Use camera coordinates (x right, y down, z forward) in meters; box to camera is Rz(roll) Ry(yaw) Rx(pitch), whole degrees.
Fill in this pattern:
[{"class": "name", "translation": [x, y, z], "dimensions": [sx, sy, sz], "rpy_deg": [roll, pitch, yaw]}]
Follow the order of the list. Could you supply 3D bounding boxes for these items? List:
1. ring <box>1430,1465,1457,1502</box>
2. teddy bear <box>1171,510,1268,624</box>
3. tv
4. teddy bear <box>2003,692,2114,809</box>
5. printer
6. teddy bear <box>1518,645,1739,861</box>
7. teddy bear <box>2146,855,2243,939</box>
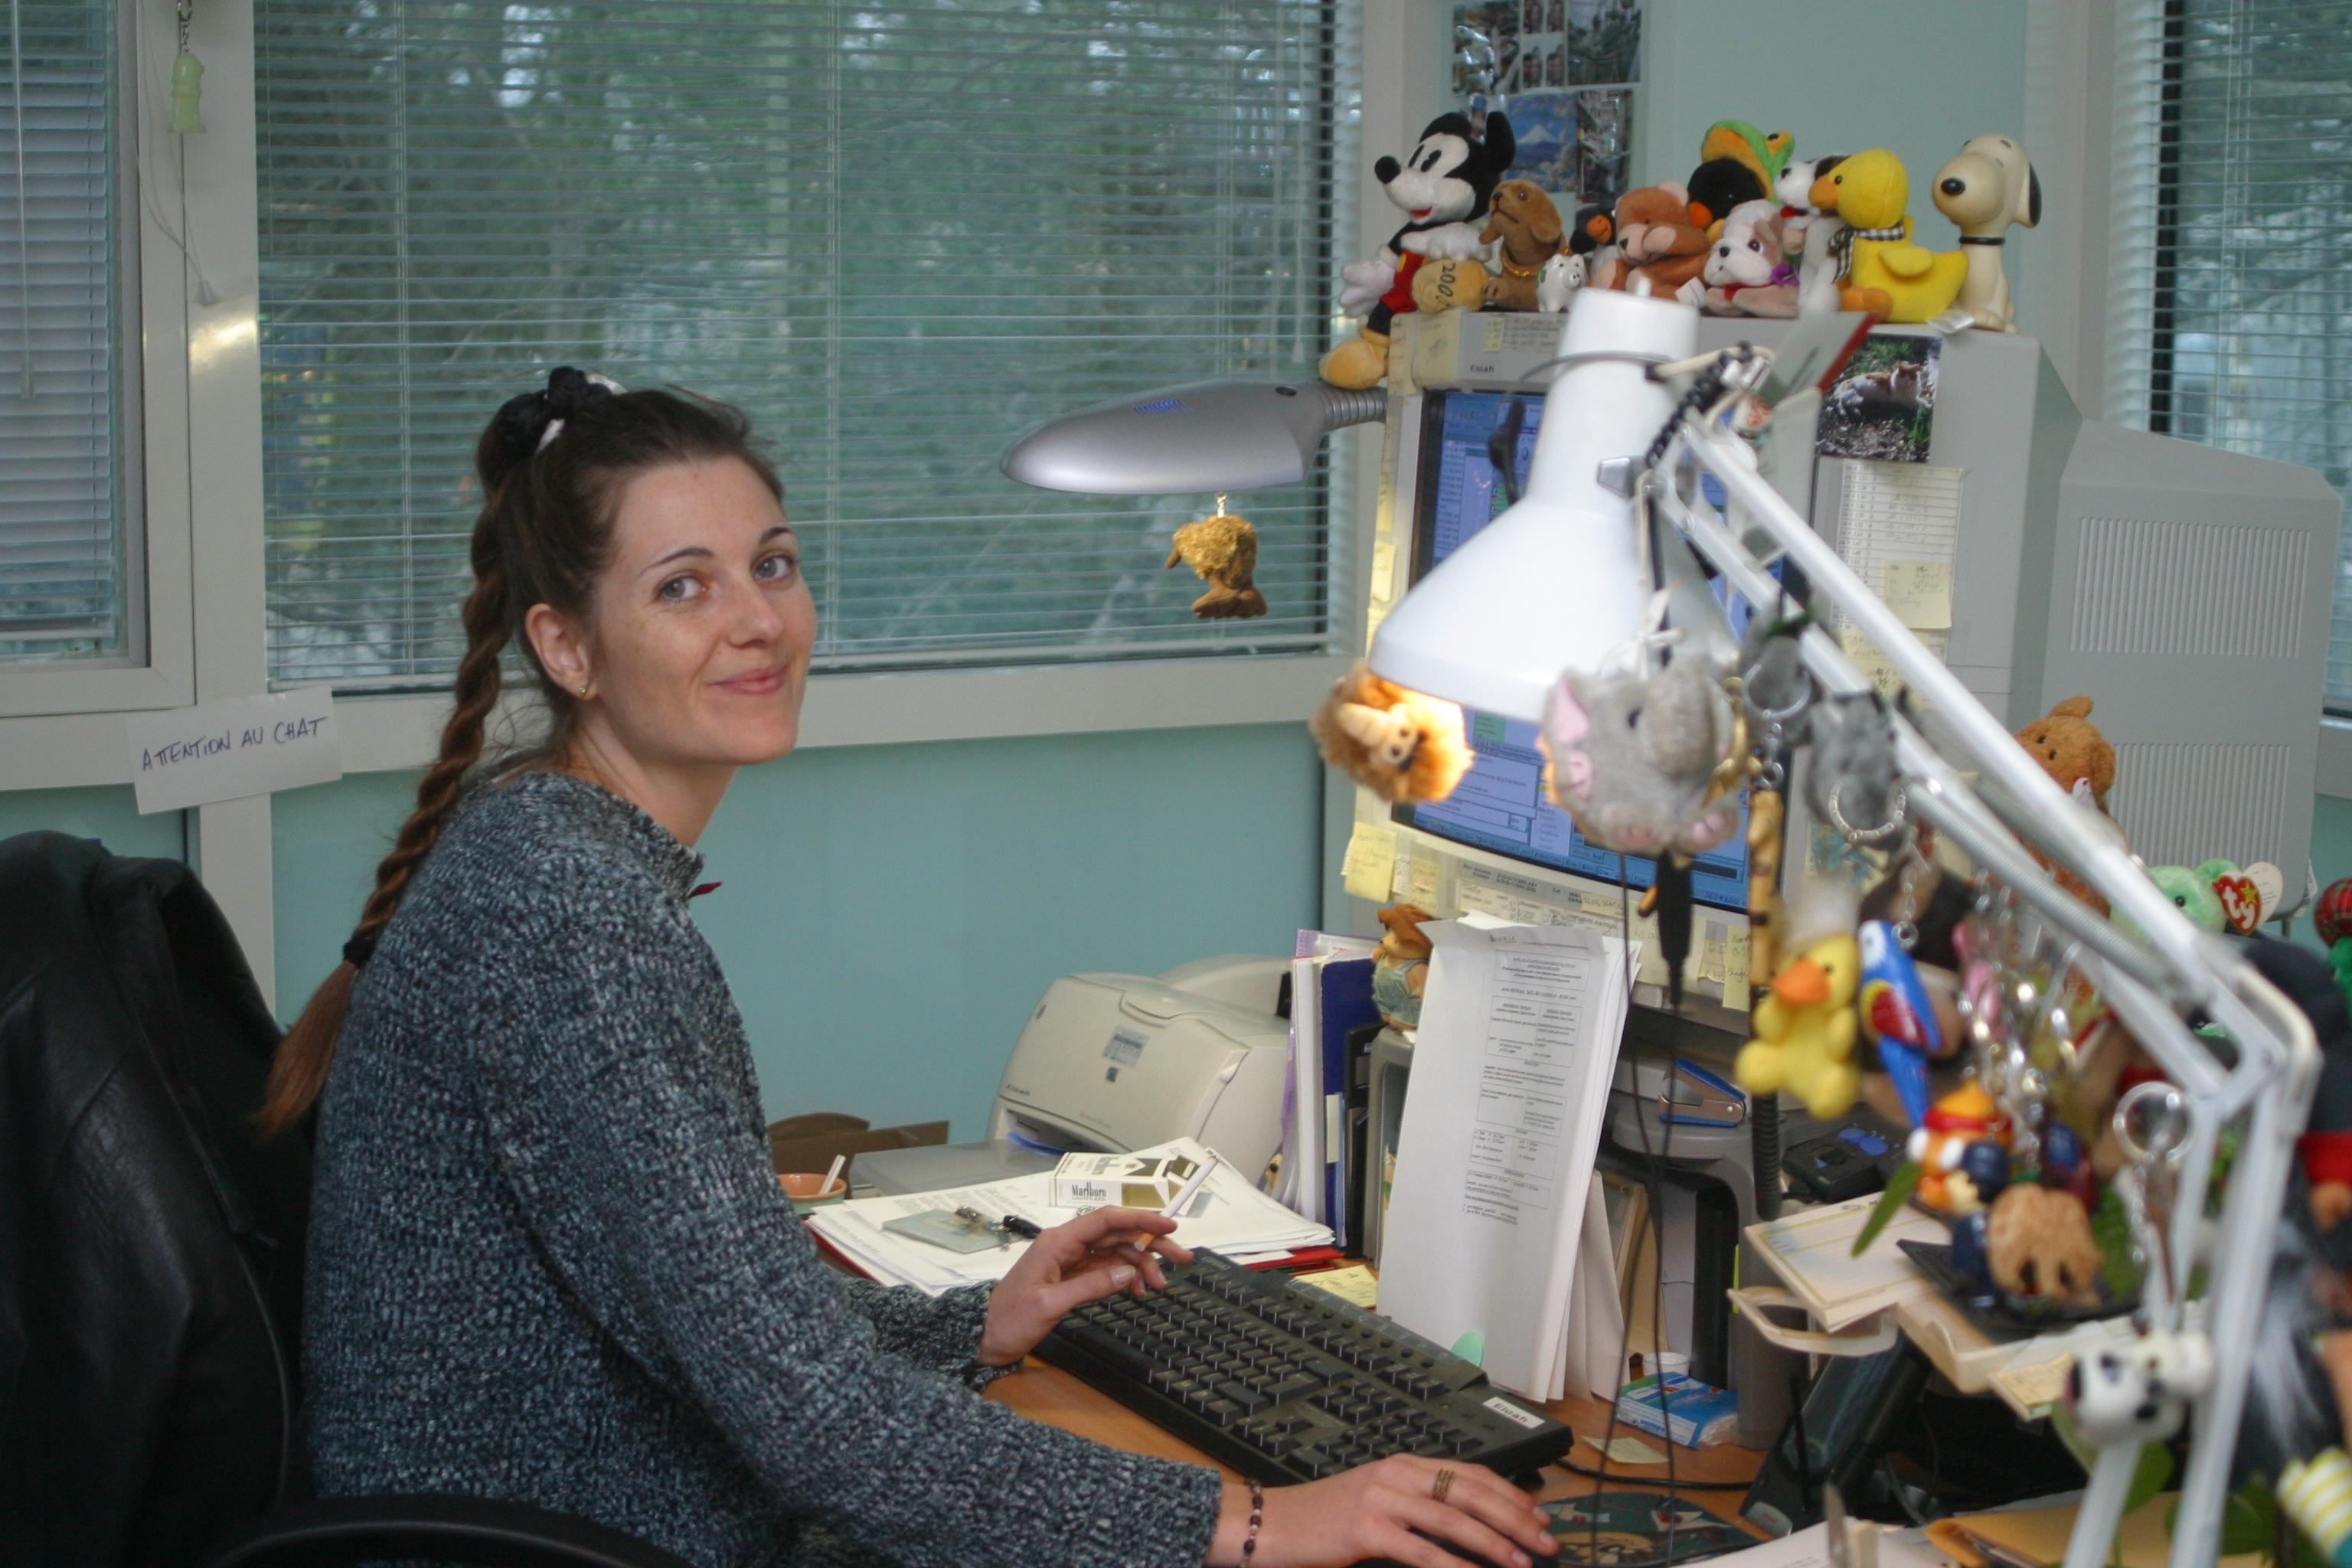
[{"class": "ring", "translation": [0.210, 0.544, 1.463], "dimensions": [0.013, 0.020, 0.021], "rpy_deg": [13, 0, 22]}, {"class": "teddy bear", "translation": [0.080, -0.338, 2.853], "dimensions": [0.184, 0.205, 0.163], "rpy_deg": [3, 8, 5]}, {"class": "tv", "translation": [0.811, -0.102, 2.034], "dimensions": [0.747, 0.566, 0.735], "rpy_deg": [0, 1, -21]}, {"class": "teddy bear", "translation": [0.685, -0.028, 1.453], "dimensions": [0.062, 0.081, 0.084], "rpy_deg": [-16, 30, 31]}, {"class": "printer", "translation": [-0.040, 0.336, 2.223], "dimensions": [0.376, 0.134, 0.262], "rpy_deg": [-9, 11, -32]}, {"class": "teddy bear", "translation": [0.277, -0.020, 1.131], "dimensions": [0.112, 0.128, 0.059], "rpy_deg": [-5, 10, 18]}, {"class": "teddy bear", "translation": [0.741, 0.081, 1.356], "dimensions": [0.068, 0.025, 0.070], "rpy_deg": [0, 8, 13]}]
